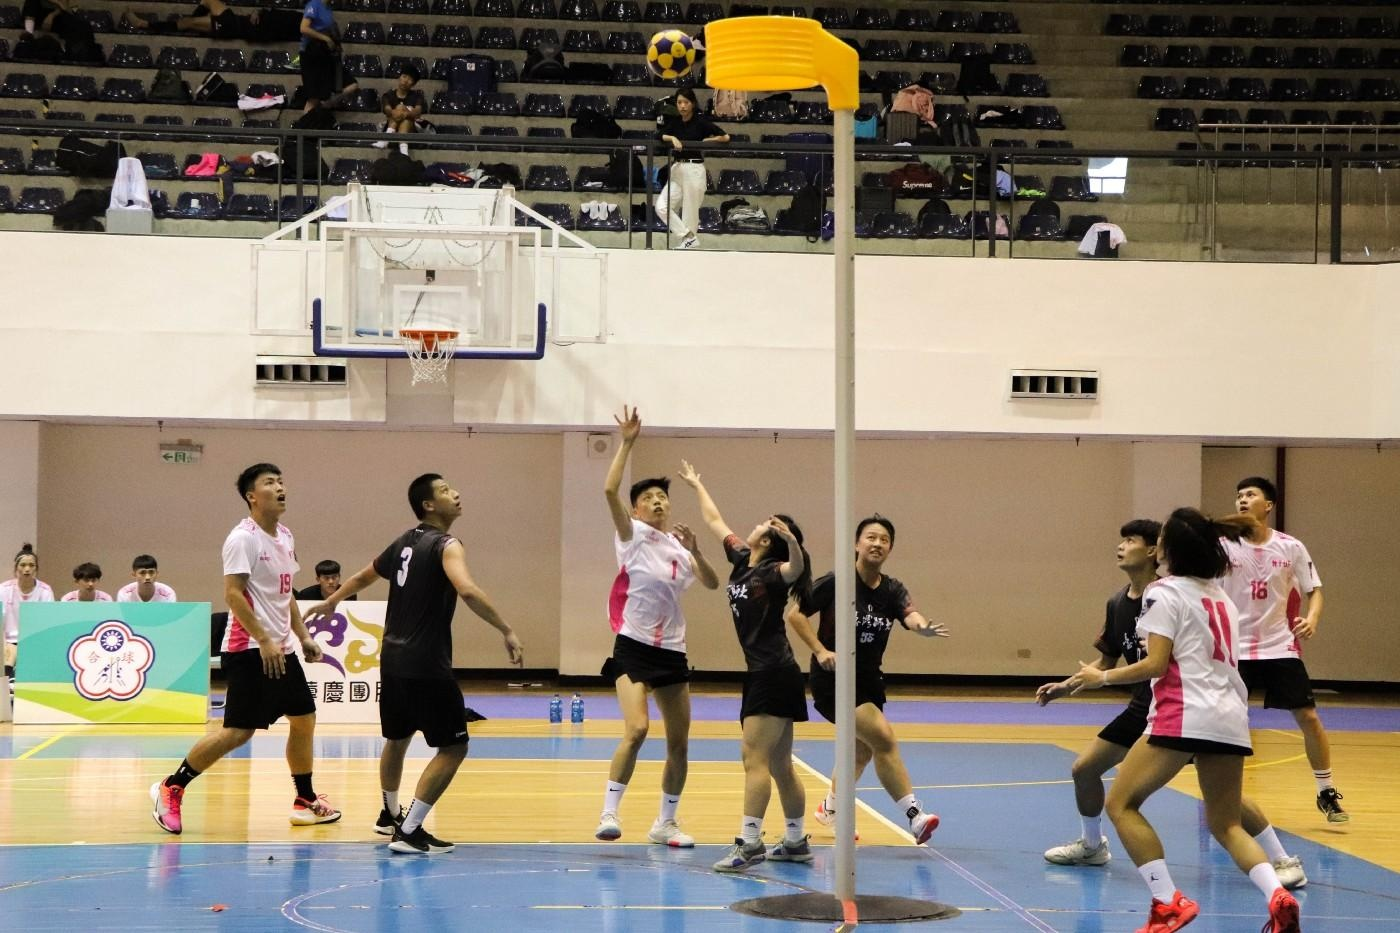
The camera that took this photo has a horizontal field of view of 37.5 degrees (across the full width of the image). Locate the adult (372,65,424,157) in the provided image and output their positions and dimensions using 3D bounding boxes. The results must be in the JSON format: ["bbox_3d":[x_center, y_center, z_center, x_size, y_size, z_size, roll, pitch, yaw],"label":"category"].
[{"bbox_3d":[-4.106,-5.089,28.314,0.568,1.176,2.439,-1,2,-7],"label":"adult"}]

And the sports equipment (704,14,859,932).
[{"bbox_3d":[0.868,0.042,16.976,1.082,7.519,1.212,0,2,7],"label":"sports equipment"}]

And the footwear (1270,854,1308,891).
[{"bbox_3d":[5.113,3.522,17.887,0.255,0.229,0.542,-2,-23,12],"label":"footwear"}]

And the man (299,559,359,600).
[{"bbox_3d":[-4.346,1.292,23.785,0.631,0.591,0.359,5,-16,-15],"label":"man"}]

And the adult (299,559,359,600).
[{"bbox_3d":[-4.346,1.292,23.785,0.631,0.591,0.359,5,-16,-15],"label":"adult"}]

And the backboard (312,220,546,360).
[{"bbox_3d":[-3.046,-2.003,23.063,2.380,1.458,1.297,1,11,-1],"label":"backboard"}]
